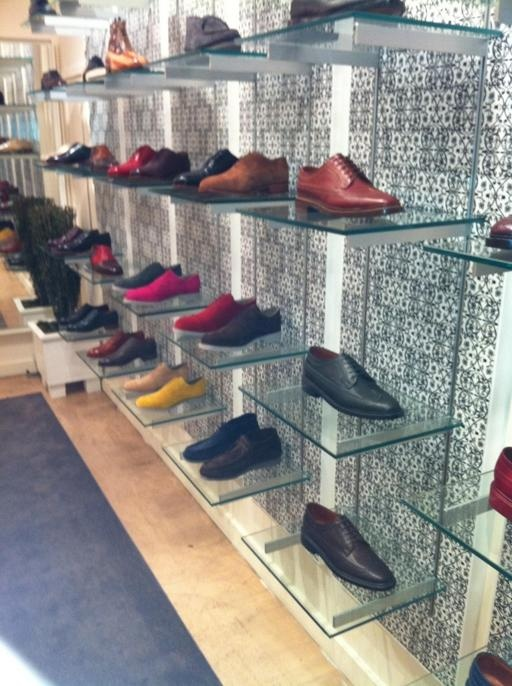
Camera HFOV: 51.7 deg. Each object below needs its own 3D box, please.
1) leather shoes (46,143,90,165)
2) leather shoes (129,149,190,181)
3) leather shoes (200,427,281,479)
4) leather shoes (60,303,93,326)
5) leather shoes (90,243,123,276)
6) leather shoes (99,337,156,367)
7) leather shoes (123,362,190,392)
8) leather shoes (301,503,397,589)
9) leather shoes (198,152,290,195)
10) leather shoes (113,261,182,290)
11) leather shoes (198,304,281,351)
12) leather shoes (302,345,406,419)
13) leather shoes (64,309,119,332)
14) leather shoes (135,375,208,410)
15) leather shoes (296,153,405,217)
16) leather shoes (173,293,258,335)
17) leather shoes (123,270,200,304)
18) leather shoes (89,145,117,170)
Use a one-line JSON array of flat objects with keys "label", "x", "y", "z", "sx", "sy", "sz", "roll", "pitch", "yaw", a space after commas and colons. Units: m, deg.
[{"label": "leather shoes", "x": -1.010, "y": -1.027, "z": 2.891, "sx": 0.307, "sy": 0.123, "sz": 0.106, "roll": 2, "pitch": 28, "yaw": 14}, {"label": "leather shoes", "x": -0.326, "y": -0.675, "z": 1.982, "sx": 0.101, "sy": 0.113, "sz": 0.262, "roll": 25, "pitch": 37, "yaw": 38}, {"label": "leather shoes", "x": -0.031, "y": 0.368, "z": 1.809, "sx": 0.317, "sy": 0.128, "sz": 0.112, "roll": -19, "pitch": 26, "yaw": -31}, {"label": "leather shoes", "x": -1.122, "y": -0.181, "z": 3.314, "sx": 0.205, "sy": 0.088, "sz": 0.070, "roll": -25, "pitch": 31, "yaw": -22}, {"label": "leather shoes", "x": -0.813, "y": -0.464, "z": 2.857, "sx": 0.108, "sy": 0.111, "sz": 0.283, "roll": -15, "pitch": 29, "yaw": -25}, {"label": "leather shoes", "x": -0.607, "y": 0.032, "z": 2.684, "sx": 0.323, "sy": 0.140, "sz": 0.106, "roll": -15, "pitch": 22, "yaw": -32}, {"label": "leather shoes", "x": -0.431, "y": 0.154, "z": 2.321, "sx": 0.306, "sy": 0.121, "sz": 0.114, "roll": -12, "pitch": 20, "yaw": -16}, {"label": "leather shoes", "x": 0.230, "y": 0.513, "z": 1.349, "sx": 0.096, "sy": 0.099, "sz": 0.266, "roll": -10, "pitch": 16, "yaw": -27}, {"label": "leather shoes", "x": -0.004, "y": -0.481, "z": 1.459, "sx": 0.281, "sy": 0.123, "sz": 0.109, "roll": -10, "pitch": 25, "yaw": -25}, {"label": "leather shoes", "x": -0.479, "y": -0.290, "z": 2.354, "sx": 0.329, "sy": 0.123, "sz": 0.111, "roll": -14, "pitch": 21, "yaw": -31}, {"label": "leather shoes", "x": -0.040, "y": -0.069, "z": 1.675, "sx": 0.286, "sy": 0.120, "sz": 0.102, "roll": -19, "pitch": 24, "yaw": -32}, {"label": "leather shoes", "x": 0.203, "y": 0.088, "z": 1.179, "sx": 0.102, "sy": 0.112, "sz": 0.289, "roll": -10, "pitch": 21, "yaw": -33}, {"label": "leather shoes", "x": -0.936, "y": -0.131, "z": 3.111, "sx": 0.332, "sy": 0.144, "sz": 0.125, "roll": -10, "pitch": 22, "yaw": -21}, {"label": "leather shoes", "x": -0.335, "y": 0.207, "z": 2.196, "sx": 0.307, "sy": 0.121, "sz": 0.110, "roll": -18, "pitch": 26, "yaw": -29}, {"label": "leather shoes", "x": 0.170, "y": -0.311, "z": 1.041, "sx": 0.102, "sy": 0.116, "sz": 0.278, "roll": -11, "pitch": 23, "yaw": -31}, {"label": "leather shoes", "x": -0.140, "y": -0.133, "z": 1.777, "sx": 0.308, "sy": 0.132, "sz": 0.114, "roll": -14, "pitch": 16, "yaw": -13}, {"label": "leather shoes", "x": -0.366, "y": -0.215, "z": 2.179, "sx": 0.346, "sy": 0.139, "sz": 0.125, "roll": -16, "pitch": 28, "yaw": -31}, {"label": "leather shoes", "x": -0.761, "y": -0.925, "z": 2.670, "sx": 0.102, "sy": 0.106, "sz": 0.254, "roll": -18, "pitch": 34, "yaw": -22}]
